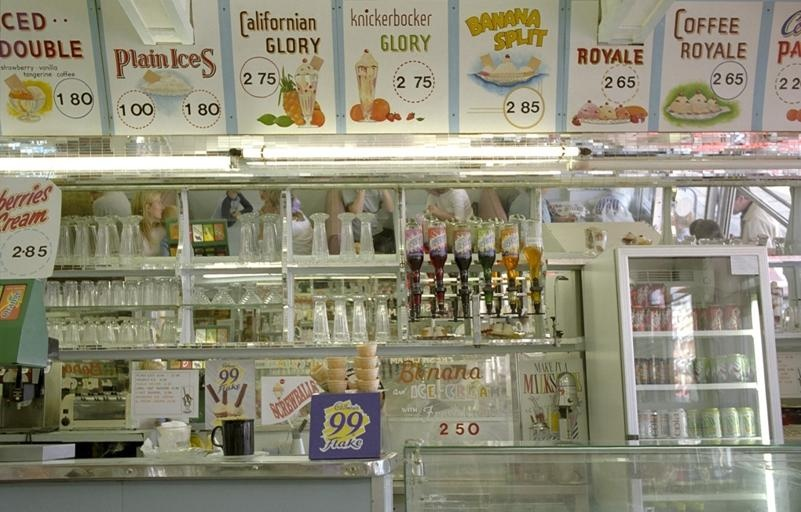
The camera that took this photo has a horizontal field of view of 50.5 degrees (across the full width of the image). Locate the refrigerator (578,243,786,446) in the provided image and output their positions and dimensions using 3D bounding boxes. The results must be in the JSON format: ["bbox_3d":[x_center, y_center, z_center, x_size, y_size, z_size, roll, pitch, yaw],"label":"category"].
[{"bbox_3d":[2.133,0.700,6.467,1.327,2.480,0.800,2,-13,-5],"label":"refrigerator"}]

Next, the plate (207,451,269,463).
[{"bbox_3d":[-1.014,1.277,5.279,0.384,0.057,0.272,0,-13,-6],"label":"plate"}]

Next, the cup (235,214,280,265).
[{"bbox_3d":[-1.134,-0.123,6.795,0.386,0.374,0.211,0,-8,-13],"label":"cup"}]

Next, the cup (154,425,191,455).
[{"bbox_3d":[-1.475,1.191,5.511,0.205,0.198,0.187,-2,-13,0],"label":"cup"}]

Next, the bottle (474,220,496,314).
[{"bbox_3d":[0.665,0.100,6.569,0.130,0.708,0.290,-2,-13,4],"label":"bottle"}]

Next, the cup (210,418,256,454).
[{"bbox_3d":[-1.077,1.157,5.412,0.345,0.247,0.222,-1,-5,-1],"label":"cup"}]

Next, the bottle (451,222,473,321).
[{"bbox_3d":[0.478,0.124,6.531,0.134,0.700,0.196,-2,-13,3],"label":"bottle"}]
